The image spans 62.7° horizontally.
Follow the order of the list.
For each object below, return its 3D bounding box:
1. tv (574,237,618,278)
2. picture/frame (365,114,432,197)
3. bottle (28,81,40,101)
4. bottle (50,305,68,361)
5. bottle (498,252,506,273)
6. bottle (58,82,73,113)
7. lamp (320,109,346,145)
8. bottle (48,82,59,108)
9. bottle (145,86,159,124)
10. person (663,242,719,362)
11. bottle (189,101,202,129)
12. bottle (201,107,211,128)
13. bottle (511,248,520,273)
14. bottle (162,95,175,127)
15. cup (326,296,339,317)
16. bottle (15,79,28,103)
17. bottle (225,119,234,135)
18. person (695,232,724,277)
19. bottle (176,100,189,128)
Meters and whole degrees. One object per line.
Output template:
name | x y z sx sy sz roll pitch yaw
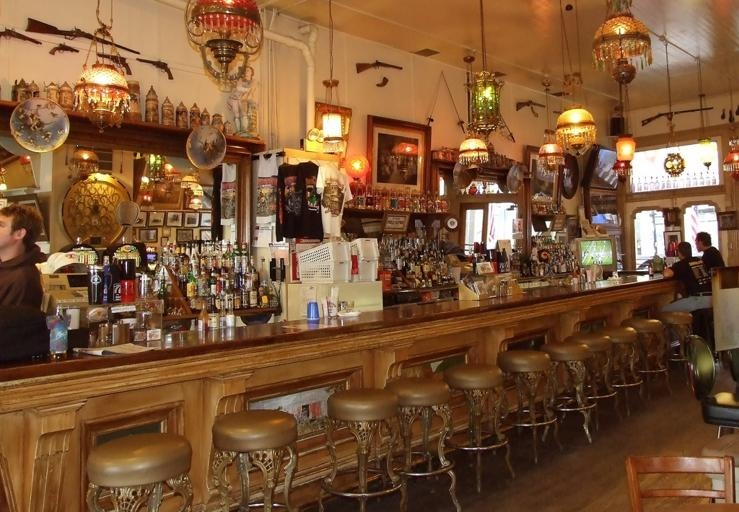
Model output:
tv | 4.037 0.025 10.874 0.711 0.616 0.403 1 -3 -37
picture/frame | 0.391 -1.497 9.060 1.297 1.255 0.103 1 -3 -37
bottle | -3.388 -1.677 6.118 0.098 0.177 0.400 -2 10 -28
bottle | -2.096 0.516 4.090 0.123 0.267 0.383 -2 10 -28
bottle | 2.140 0.078 9.716 0.132 0.307 0.182 4 8 12
bottle | -3.125 -1.644 6.239 0.143 0.299 0.291 -2 10 -29
lamp | -0.448 -1.606 7.594 0.371 0.407 0.377 6 9 43
bottle | -3.252 -1.682 6.227 0.126 0.222 0.264 -2 10 -28
bottle | -2.431 -1.688 6.777 0.137 0.416 0.360 -1 9 -21
person | 4.832 0.553 9.018 0.574 1.603 0.672 -9 0 1
bottle | -2.018 -1.621 7.033 0.117 0.268 0.159 0 8 -13
bottle | -1.923 -1.629 7.121 0.114 0.204 0.321 0 9 -14
bottle | 2.456 0.094 10.113 0.157 0.280 0.308 4 9 13
bottle | -2.292 -1.639 6.906 0.144 0.329 0.366 -1 9 -19
cup | -0.345 0.470 5.676 0.140 0.258 0.144 -1 -1 0
bottle | -3.449 -1.643 6.009 0.151 0.224 0.123 9 11 40
bottle | -1.697 -1.558 7.340 0.112 0.174 0.238 0 9 -14
person | 5.388 0.003 9.632 0.425 0.797 0.446 -11 -1 24
bottle | -2.161 -1.620 6.997 0.135 0.299 0.337 0 9 -16
